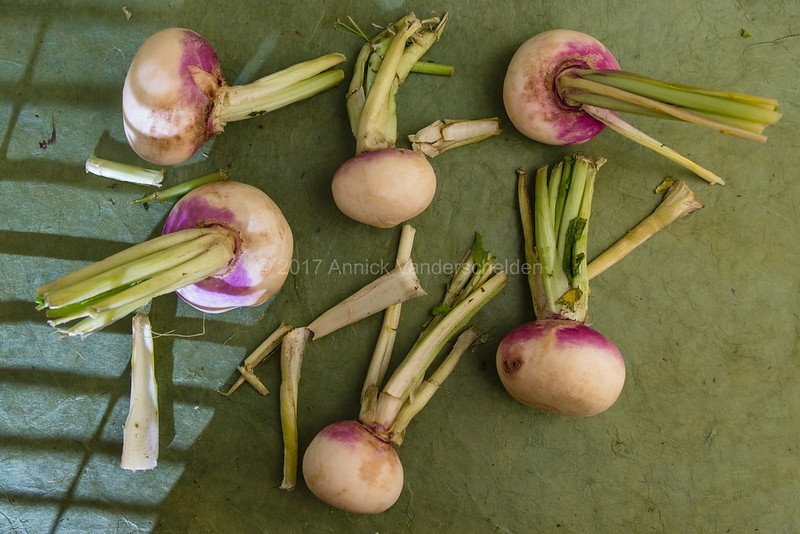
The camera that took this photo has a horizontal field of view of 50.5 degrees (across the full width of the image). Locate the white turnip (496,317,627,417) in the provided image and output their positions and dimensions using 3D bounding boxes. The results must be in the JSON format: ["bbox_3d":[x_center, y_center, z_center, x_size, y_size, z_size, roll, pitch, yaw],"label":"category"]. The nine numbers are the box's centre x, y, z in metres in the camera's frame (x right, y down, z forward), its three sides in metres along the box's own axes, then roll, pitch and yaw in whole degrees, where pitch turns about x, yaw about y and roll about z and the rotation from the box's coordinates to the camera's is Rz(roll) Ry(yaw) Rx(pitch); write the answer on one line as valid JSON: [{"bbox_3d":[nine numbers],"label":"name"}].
[{"bbox_3d":[0.532,0.330,2.796,0.414,0.303,0.302,6,18,11],"label":"white turnip"}]

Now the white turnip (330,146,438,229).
[{"bbox_3d":[-0.055,-0.269,2.796,0.267,0.206,0.256,5,9,29],"label":"white turnip"}]

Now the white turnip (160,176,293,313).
[{"bbox_3d":[-0.581,-0.065,2.857,0.419,0.310,0.332,7,54,-17],"label":"white turnip"}]

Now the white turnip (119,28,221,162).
[{"bbox_3d":[-0.752,-0.553,2.879,0.305,0.437,0.245,7,-1,1],"label":"white turnip"}]
